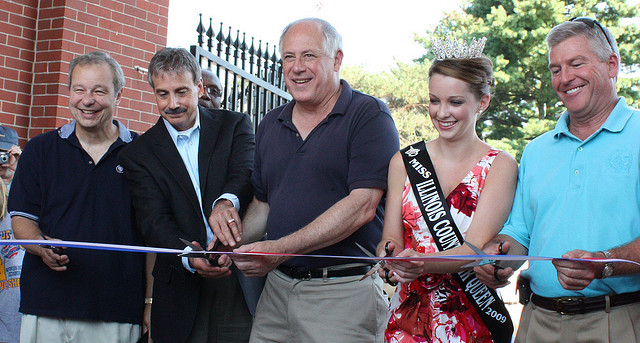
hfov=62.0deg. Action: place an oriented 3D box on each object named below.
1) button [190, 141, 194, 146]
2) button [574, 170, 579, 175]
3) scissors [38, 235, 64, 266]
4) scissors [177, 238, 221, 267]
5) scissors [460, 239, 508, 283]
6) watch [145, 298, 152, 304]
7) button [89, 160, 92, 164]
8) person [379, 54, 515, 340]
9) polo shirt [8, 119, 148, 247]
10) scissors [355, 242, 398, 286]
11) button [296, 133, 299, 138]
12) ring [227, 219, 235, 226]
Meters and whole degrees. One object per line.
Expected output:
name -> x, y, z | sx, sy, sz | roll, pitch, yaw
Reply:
button -> -1.135, -0.247, 4.694 | 0.034, 0.029, 0.009 | 4, 2, 5
button -> 1.881, 0.007, 3.863 | 0.028, 0.026, 0.006 | -1, -9, 12
scissors -> -2.225, 0.650, 4.424 | 0.240, 0.230, 0.073 | 15, 7, 28
scissors -> -0.909, 0.622, 4.185 | 0.369, 0.106, 0.204 | 7, 24, -24
scissors -> 1.187, 0.648, 3.796 | 0.338, 0.304, 0.192 | 0, 2, 4
watch -> -1.543, 1.153, 4.768 | 0.097, 0.063, 0.013 | -3, -19, 15
button -> -2.004, -0.081, 4.621 | 0.028, 0.026, 0.006 | 0, 1, -3
person -> 0.972, 0.247, 4.242 | 1.050, 2.169, 1.192 | 1, 1, 12
polo shirt -> -2.065, 0.137, 4.584 | 1.176, 0.889, 0.583 | 6, -7, -13
scissors -> 0.431, 0.629, 3.923 | 0.215, 0.367, 0.242 | 3, 1, 5
button -> -0.183, -0.296, 4.379 | 0.033, 0.030, 0.011 | -4, -8, 20
ring -> -0.723, 0.406, 4.289 | 0.063, 0.014, 0.014 | -15, -37, -18
